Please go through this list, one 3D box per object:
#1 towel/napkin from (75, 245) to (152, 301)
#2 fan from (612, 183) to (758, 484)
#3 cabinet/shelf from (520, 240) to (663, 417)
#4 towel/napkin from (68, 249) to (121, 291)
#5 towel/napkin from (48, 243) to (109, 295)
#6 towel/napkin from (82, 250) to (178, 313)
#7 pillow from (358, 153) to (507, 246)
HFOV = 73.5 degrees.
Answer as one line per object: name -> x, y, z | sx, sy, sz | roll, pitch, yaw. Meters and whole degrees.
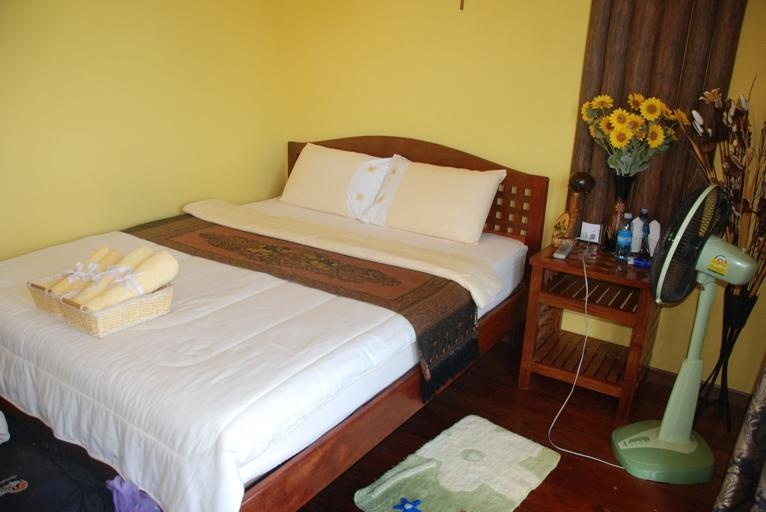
towel/napkin -> -1.282, 0.082, 2.452 | 0.129, 0.083, 0.390 | 25, 54, 32
fan -> 1.556, 0.429, 2.523 | 0.478, 1.516, 0.439 | -9, 25, -30
cabinet/shelf -> 1.337, 0.429, 3.279 | 0.749, 0.835, 0.638 | 13, 18, 36
towel/napkin -> -1.417, 0.048, 2.574 | 0.166, 0.072, 0.271 | 17, 35, 19
towel/napkin -> -1.467, 0.065, 2.515 | 0.109, 0.075, 0.296 | 30, 40, 17
towel/napkin -> -1.183, 0.185, 2.386 | 0.508, 0.138, 0.127 | -8, -1, 22
pillow -> 0.406, -0.399, 3.656 | 0.657, 0.858, 0.192 | 11, 56, 5
